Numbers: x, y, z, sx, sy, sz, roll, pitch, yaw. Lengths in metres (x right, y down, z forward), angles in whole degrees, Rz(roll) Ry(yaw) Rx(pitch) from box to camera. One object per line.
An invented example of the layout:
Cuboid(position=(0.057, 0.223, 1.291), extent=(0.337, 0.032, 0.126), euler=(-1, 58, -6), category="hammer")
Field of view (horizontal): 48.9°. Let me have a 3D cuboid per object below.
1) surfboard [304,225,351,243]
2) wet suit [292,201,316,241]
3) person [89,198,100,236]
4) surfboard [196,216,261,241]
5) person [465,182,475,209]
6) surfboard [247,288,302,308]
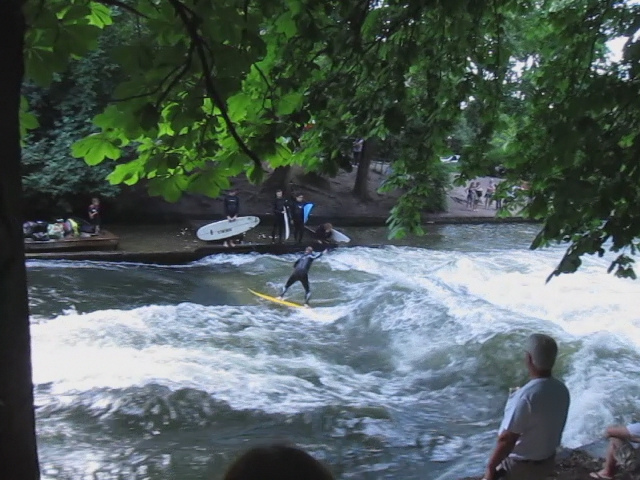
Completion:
Cuboid(position=(0.233, -0.213, 24.380), extent=(1.625, 0.441, 0.389), euler=(12, 8, -6), category="surfboard")
Cuboid(position=(-0.684, -0.643, 22.932), extent=(0.419, 1.376, 0.870), euler=(0, 12, -2), category="wet suit")
Cuboid(position=(-6.385, -0.703, 19.950), extent=(0.275, 1.030, 0.900), euler=(-3, 12, -17), category="person")
Cuboid(position=(-2.927, -0.370, 22.067), extent=(2.013, 0.705, 0.358), euler=(-5, 13, -31), category="surfboard")
Cuboid(position=(7.500, -2.315, 35.231), extent=(0.348, 1.298, 1.206), euler=(3, 12, 12), category="person")
Cuboid(position=(-1.139, 1.417, 17.253), extent=(1.793, 0.078, 0.193), euler=(11, -2, 40), category="surfboard")
